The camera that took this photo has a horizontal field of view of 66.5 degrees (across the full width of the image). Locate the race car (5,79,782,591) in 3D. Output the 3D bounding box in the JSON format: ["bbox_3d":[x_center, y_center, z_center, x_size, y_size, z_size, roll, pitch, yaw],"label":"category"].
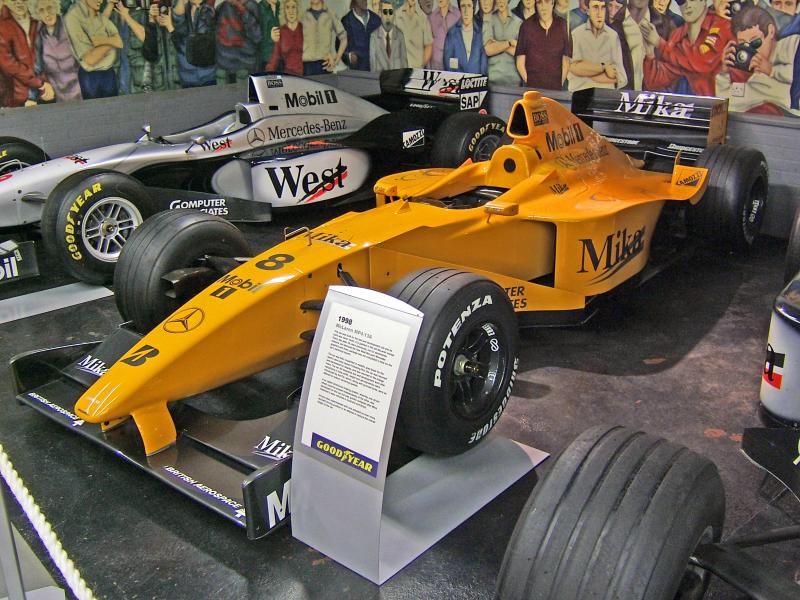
[{"bbox_3d":[0.454,-0.379,4.481,5.066,1.249,2.427,-18,25,-40],"label":"race car"}]
